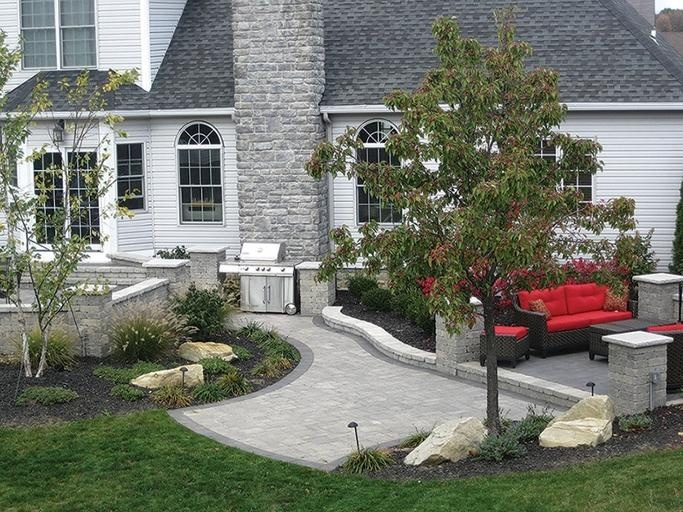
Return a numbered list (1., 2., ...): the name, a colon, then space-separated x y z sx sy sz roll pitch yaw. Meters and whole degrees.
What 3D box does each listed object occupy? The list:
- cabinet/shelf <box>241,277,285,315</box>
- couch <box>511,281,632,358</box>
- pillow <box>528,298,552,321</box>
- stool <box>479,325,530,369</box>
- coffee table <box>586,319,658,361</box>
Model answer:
1. cabinet/shelf: -1.968 0.931 22.242 1.342 1.314 0.753 0 2 6
2. couch: 4.894 1.297 18.449 2.464 1.413 0.954 -4 -1 -25
3. pillow: 4.044 1.088 18.005 0.458 0.432 0.917 -1 -1 16
4. stool: 3.208 1.767 17.097 0.648 0.813 1.282 -1 -1 38
5. coffee table: 5.511 1.524 17.268 1.122 0.986 1.179 -3 7 -27
